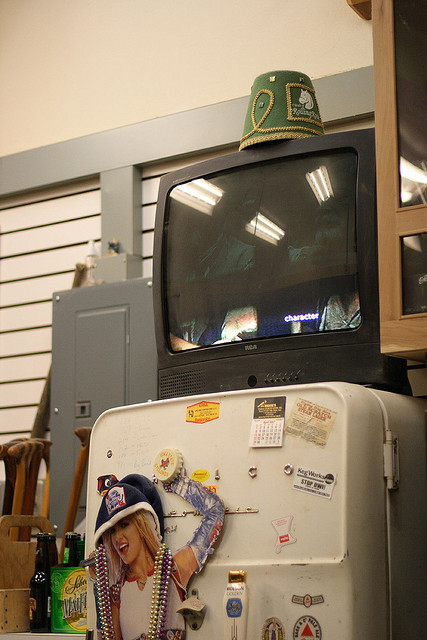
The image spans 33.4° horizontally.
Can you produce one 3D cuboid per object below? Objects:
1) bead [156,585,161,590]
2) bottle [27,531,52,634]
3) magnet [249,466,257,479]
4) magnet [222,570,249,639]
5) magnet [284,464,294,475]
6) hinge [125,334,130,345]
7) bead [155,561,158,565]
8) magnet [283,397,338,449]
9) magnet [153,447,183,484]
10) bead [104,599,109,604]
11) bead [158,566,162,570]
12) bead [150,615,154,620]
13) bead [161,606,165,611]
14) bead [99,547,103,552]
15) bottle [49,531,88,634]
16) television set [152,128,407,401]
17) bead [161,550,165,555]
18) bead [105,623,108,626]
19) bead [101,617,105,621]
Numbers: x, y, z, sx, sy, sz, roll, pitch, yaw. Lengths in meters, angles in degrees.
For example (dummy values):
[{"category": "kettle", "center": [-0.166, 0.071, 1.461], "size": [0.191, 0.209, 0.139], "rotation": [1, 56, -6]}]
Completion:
[{"category": "bead", "center": [-0.118, 0.557, 1.481], "size": [0.006, 0.008, 0.004], "rotation": [-2, 3, -3]}, {"category": "bottle", "center": [-0.471, 0.706, 1.915], "size": [0.051, 0.247, 0.103], "rotation": [2, -7, -18]}, {"category": "magnet", "center": [0.077, 0.309, 1.442], "size": [0.019, 0.019, 0.006], "rotation": [-3, -8, 36]}, {"category": "magnet", "center": [0.042, 0.549, 1.371], "size": [0.034, 0.125, 0.048], "rotation": [6, -9, -42]}, {"category": "magnet", "center": [0.146, 0.293, 1.394], "size": [0.020, 0.020, 0.008], "rotation": [11, -3, 28]}, {"category": "hinge", "center": [-0.328, 0.070, 2.656], "size": [0.021, 0.038, 0.003], "rotation": [-3, -8, 24]}, {"category": "bead", "center": [-0.124, 0.512, 1.497], "size": [0.008, 0.012, 0.006], "rotation": [-6, -19, 21]}, {"category": "magnet", "center": [0.188, 0.202, 1.401], "size": [0.111, 0.096, 0.029], "rotation": [-7, -10, 44]}, {"category": "magnet", "center": [-0.101, 0.315, 1.554], "size": [0.017, 0.071, 0.069], "rotation": [12, -13, -43]}, {"category": "bead", "center": [-0.237, 0.613, 1.546], "size": [0.007, 0.006, 0.005], "rotation": [1, 34, -7]}, {"category": "bead", "center": [-0.115, 0.517, 1.485], "size": [0.008, 0.008, 0.005], "rotation": [-1, -16, 9]}, {"category": "bead", "center": [-0.130, 0.615, 1.471], "size": [0.005, 0.005, 0.007], "rotation": [-5, 36, -19]}, {"category": "bead", "center": [-0.108, 0.598, 1.470], "size": [0.006, 0.010, 0.006], "rotation": [2, -15, -5]}, {"category": "bead", "center": [-0.252, 0.512, 1.580], "size": [0.006, 0.009, 0.005], "rotation": [0, -17, 1]}, {"category": "bottle", "center": [-0.403, 0.713, 1.942], "size": [0.091, 0.229, 0.308], "rotation": [1, -7, -12]}, {"category": "television set", "center": [0.208, -0.095, 1.979], "size": [0.674, 0.626, 0.405], "rotation": [-7, -15, 33]}, {"category": "bead", "center": [-0.110, 0.489, 1.495], "size": [0.005, 0.005, 0.005], "rotation": [-1, 13, 6]}, {"category": "bead", "center": [-0.235, 0.658, 1.534], "size": [0.004, 0.007, 0.004], "rotation": [-1, -3, 2]}, {"category": "bead", "center": [-0.244, 0.649, 1.540], "size": [0.006, 0.009, 0.005], "rotation": [0, -6, 9]}]
